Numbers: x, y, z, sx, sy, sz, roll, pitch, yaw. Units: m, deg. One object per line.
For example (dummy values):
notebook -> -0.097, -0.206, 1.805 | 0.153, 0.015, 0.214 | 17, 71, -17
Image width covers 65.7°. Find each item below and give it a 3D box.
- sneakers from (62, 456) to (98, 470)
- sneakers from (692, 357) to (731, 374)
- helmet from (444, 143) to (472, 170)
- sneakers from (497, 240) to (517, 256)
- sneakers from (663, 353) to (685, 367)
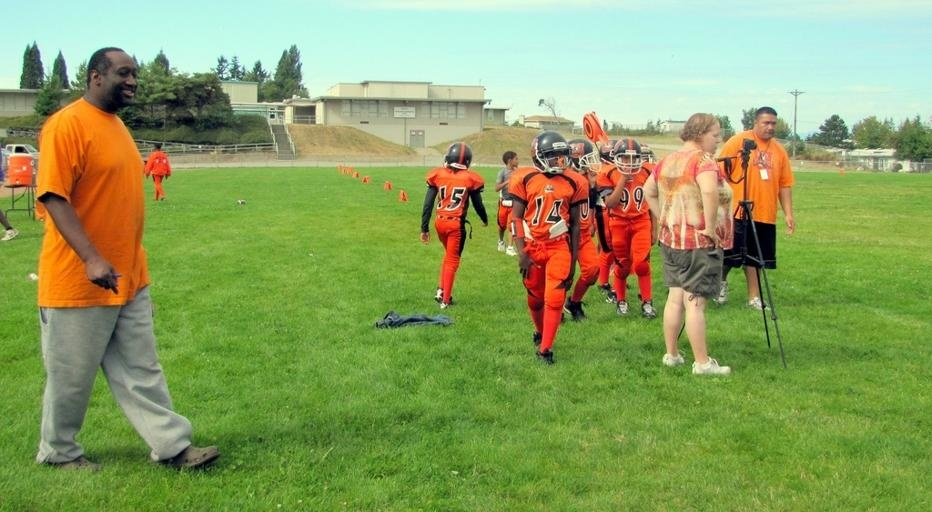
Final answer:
sneakers -> -4.315, 2.303, 8.083 | 0.423, 0.155, 0.139 | 1, -1, -12
sneakers -> 3.481, 1.538, 10.129 | 0.504, 0.185, 0.227 | -1, 7, -6
helmet -> -0.118, -1.910, 13.590 | 0.457, 0.454, 0.552 | 5, 24, -12
sneakers -> 1.080, -0.195, 18.285 | 0.240, 0.262, 0.664 | -1, 16, -20
sneakers -> 3.048, 1.496, 10.468 | 0.314, 0.116, 0.154 | -7, 11, -31
